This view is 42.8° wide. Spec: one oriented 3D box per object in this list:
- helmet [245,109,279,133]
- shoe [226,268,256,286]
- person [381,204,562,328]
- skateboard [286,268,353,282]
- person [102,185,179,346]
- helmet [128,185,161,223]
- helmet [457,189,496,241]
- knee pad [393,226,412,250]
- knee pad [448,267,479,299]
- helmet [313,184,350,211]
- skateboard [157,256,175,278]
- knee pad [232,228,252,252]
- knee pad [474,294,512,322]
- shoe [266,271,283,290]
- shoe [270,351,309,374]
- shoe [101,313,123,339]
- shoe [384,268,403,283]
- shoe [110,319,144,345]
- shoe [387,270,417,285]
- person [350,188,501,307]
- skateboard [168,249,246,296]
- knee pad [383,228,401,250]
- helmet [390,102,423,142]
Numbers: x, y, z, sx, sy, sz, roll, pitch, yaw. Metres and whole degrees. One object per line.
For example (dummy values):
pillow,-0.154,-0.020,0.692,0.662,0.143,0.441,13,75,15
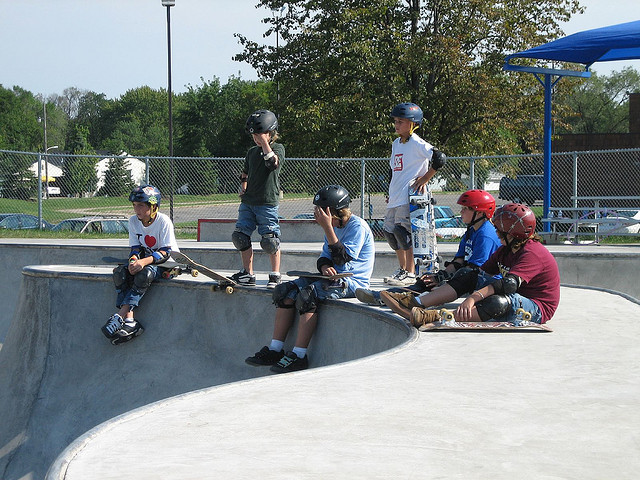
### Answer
helmet,-0.674,-1.396,9.646,0.253,0.180,0.349,6,4,30
shoe,-0.901,0.439,9.550,0.366,0.175,0.138,9,-1,-26
person,1.446,0.220,7.894,1.655,1.134,1.041,-3,9,-9
skateboard,0.000,0.378,8.728,0.426,0.064,0.212,3,5,24
person,-2.146,0.309,9.733,0.814,1.905,0.793,0,4,-6
helmet,-2.110,-0.446,9.922,0.340,0.435,0.425,3,11,22
helmet,1.667,-0.301,8.717,0.470,0.607,0.420,7,-1,3
knee pad,0.996,-0.024,9.941,0.101,0.282,0.313,-3,5,-36
knee pad,1.418,0.417,8.023,0.370,0.277,0.134,-2,5,-31
helmet,0.115,-0.440,8.570,0.314,0.260,0.237,19,-18,-20
skateboard,-1.820,0.328,9.764,0.093,0.234,0.230,50,0,-37
knee pad,-0.950,0.005,9.885,0.197,0.206,0.264,-8,-11,16
knee pad,1.631,0.630,7.673,0.278,0.130,0.252,-19,0,-35
shoe,-0.532,0.462,9.406,0.106,0.125,0.314,2,-2,9
shoe,-0.297,1.236,8.138,0.427,0.191,0.155,2,-4,-27
shoe,-2.428,0.996,9.458,0.223,0.260,0.158,-3,6,-42
shoe,0.900,0.443,10.211,0.152,0.182,0.442,3,-1,-10
shoe,-2.257,1.072,9.526,0.175,0.214,0.472,-45,-17,34
shoe,0.999,0.455,9.843,0.484,0.163,0.163,-3,6,-42
person,1.186,0.079,8.246,1.841,0.985,0.678,-14,5,-40
skateboard,-1.440,0.420,10.453,0.192,0.127,0.743,-6,-35,45
knee pad,0.924,-0.021,10.240,0.093,0.253,0.187,-22,2,-34
helmet,1.072,-1.452,10.060,0.341,0.499,0.564,2,4,13
